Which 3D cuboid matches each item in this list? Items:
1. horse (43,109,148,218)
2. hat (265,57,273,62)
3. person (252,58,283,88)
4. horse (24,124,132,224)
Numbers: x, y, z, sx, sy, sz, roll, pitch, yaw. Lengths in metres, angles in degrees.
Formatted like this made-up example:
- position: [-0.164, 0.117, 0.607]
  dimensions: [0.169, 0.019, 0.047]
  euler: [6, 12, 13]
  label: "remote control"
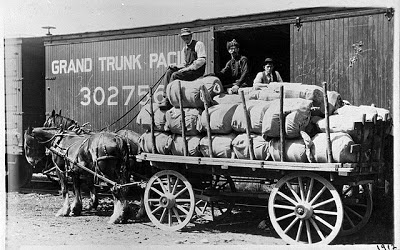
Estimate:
- position: [-3.773, 1.428, 18.410]
  dimensions: [4.001, 2.967, 1.386]
  euler: [1, 7, 25]
  label: "horse"
- position: [2.092, -1.984, 18.215]
  dimensions: [0.296, 0.115, 0.312]
  euler: [0, 3, 5]
  label: "hat"
- position: [2.115, -1.560, 18.221]
  dimensions: [0.953, 0.881, 0.559]
  euler: [-5, 3, -15]
  label: "person"
- position: [-3.589, 1.327, 18.423]
  dimensions: [4.224, 3.069, 1.330]
  euler: [0, 5, 36]
  label: "horse"
